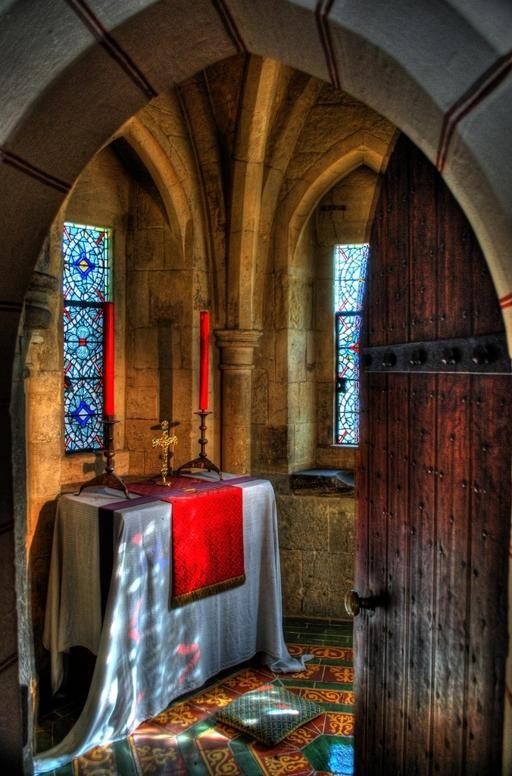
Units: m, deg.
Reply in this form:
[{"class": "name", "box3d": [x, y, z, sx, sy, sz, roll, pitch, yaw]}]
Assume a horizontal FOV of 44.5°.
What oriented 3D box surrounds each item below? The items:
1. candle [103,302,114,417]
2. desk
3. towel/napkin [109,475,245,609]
[{"class": "candle", "box3d": [-0.688, -0.128, 2.933, 0.048, 0.533, 0.123, 2, -4, -14]}, {"class": "desk", "box3d": [-0.428, 1.144, 2.997, 0.416, 0.764, 1.182, -4, -2, 35]}, {"class": "towel/napkin", "box3d": [-0.429, 0.786, 3.366, 0.548, 0.515, 0.555, -2, -2, 34]}]
